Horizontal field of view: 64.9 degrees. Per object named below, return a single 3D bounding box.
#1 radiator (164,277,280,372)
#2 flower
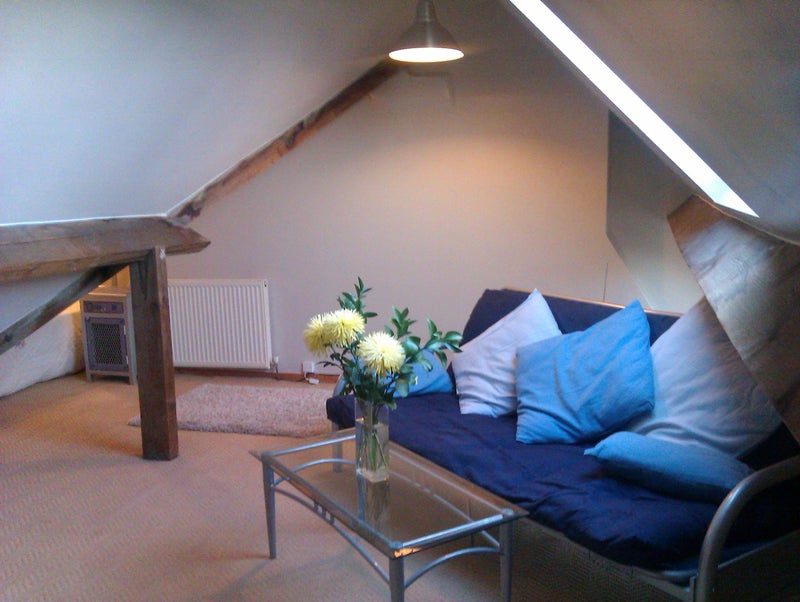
[{"bbox_3d":[-1.176,0.134,4.214,0.610,0.493,0.067,-1,4,10],"label":"radiator"},{"bbox_3d":[-0.064,0.251,1.928,0.381,0.519,0.391,20,-2,-26],"label":"flower"}]
